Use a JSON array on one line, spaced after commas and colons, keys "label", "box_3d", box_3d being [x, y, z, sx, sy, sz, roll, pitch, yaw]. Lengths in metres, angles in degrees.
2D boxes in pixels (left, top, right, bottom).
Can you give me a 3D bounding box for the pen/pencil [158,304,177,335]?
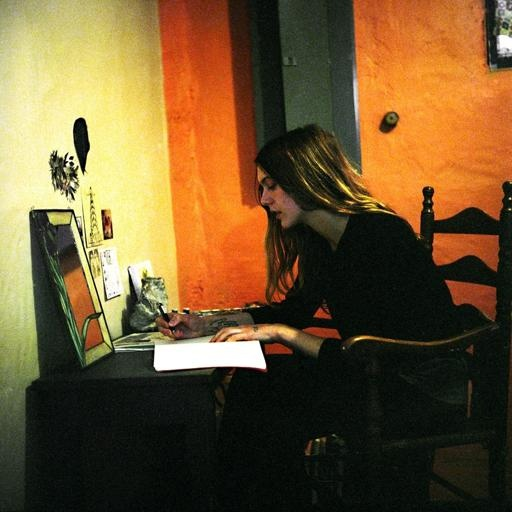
[{"label": "pen/pencil", "box_3d": [-0.268, 0.192, 1.623, 0.015, 0.016, 0.108, -29, 51, 4]}]
